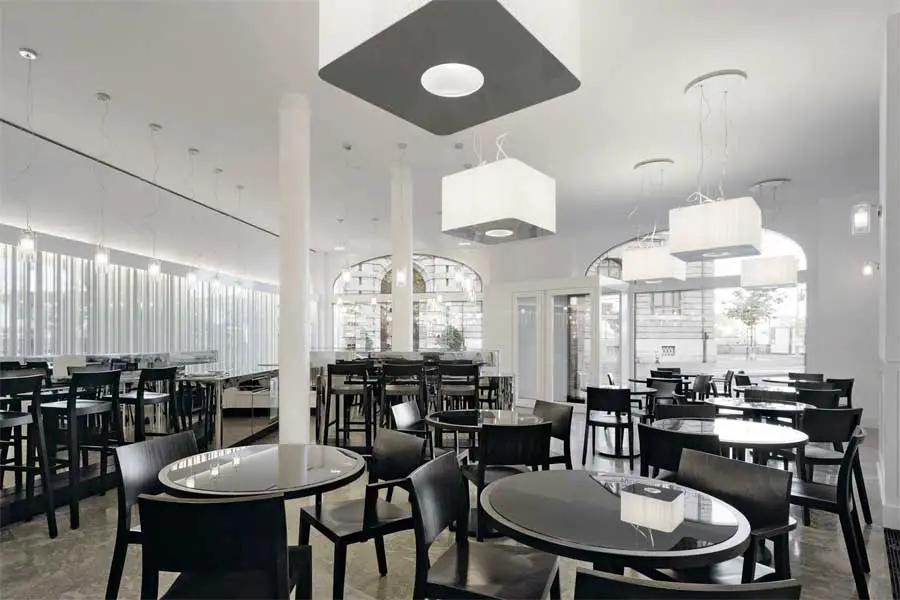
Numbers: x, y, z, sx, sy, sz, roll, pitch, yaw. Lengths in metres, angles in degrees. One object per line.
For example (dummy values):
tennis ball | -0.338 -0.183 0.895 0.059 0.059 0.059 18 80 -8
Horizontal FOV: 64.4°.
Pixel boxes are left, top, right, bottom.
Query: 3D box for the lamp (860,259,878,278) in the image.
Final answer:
lamp | 6.449 -0.514 11.032 0.209 0.240 0.441 -4 -6 26

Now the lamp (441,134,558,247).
lamp | 0.403 -0.921 7.140 1.011 1.019 0.946 -4 -7 40
